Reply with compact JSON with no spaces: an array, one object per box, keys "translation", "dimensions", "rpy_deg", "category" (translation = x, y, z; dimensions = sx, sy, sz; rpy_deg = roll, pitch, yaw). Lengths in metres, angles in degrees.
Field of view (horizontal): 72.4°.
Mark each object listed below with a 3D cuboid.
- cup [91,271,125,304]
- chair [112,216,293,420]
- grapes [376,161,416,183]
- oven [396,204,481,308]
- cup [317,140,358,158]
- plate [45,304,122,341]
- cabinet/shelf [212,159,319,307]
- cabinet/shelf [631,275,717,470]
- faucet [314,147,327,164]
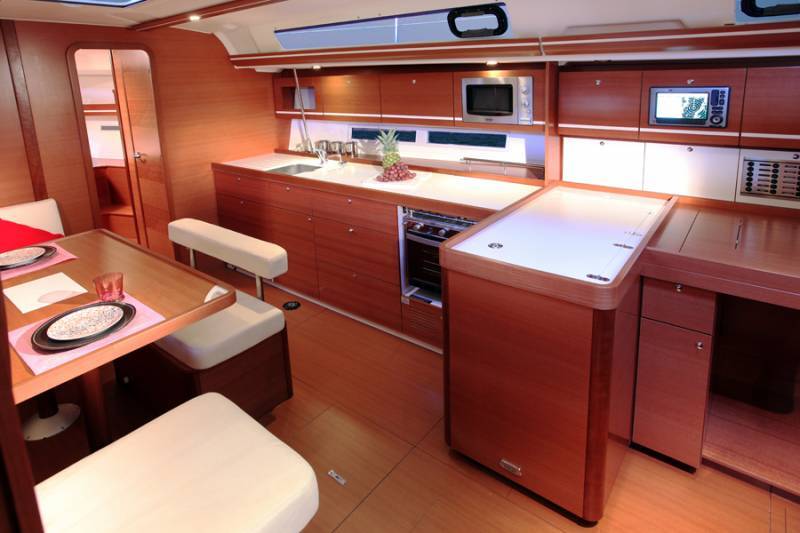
[{"translation":[-1.387,0.102,2.612],"dimensions":[0.136,0.140,0.146],"rpy_deg":[5,26,-2],"category":"cup"},{"translation":[-1.103,0.327,3.147],"dimensions":[1.097,0.989,0.669],"rpy_deg":[16,25,36],"category":"chair"},{"translation":[-0.032,-0.682,3.943],"dimensions":[0.281,0.125,0.182],"rpy_deg":[-2,23,0],"category":"grapes"},{"translation":[0.347,-0.063,3.768],"dimensions":[0.590,0.605,0.568],"rpy_deg":[11,22,26],"category":"oven"},{"translation":[-0.529,-0.998,4.664],"dimensions":[0.347,0.135,0.177],"rpy_deg":[2,23,9],"category":"cup"},{"translation":[-1.418,0.255,2.463],"dimensions":[0.309,0.046,0.246],"rpy_deg":[-16,26,-32],"category":"plate"},{"translation":[-0.984,-0.262,4.150],"dimensions":[1.073,0.688,0.578],"rpy_deg":[17,26,28],"category":"cabinet/shelf"},{"translation":[1.386,0.548,2.790],"dimensions":[0.391,0.948,0.179],"rpy_deg":[8,26,22],"category":"cabinet/shelf"},{"translation":[-0.668,-0.947,4.672],"dimensions":[0.083,0.135,0.193],"rpy_deg":[-5,23,-5],"category":"faucet"}]
